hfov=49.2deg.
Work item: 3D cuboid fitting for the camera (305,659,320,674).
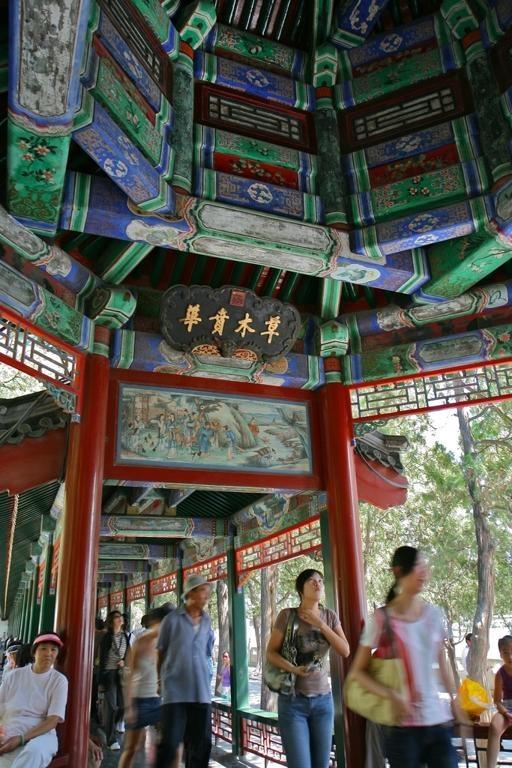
[{"bbox_3d":[0.259,1.317,2.601,0.038,0.064,0.030,48,-6,-25],"label":"camera"}]

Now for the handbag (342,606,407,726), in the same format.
[{"bbox_3d":[0.341,0.822,1.624,0.205,0.311,0.118,-9,-19,20],"label":"handbag"}]
